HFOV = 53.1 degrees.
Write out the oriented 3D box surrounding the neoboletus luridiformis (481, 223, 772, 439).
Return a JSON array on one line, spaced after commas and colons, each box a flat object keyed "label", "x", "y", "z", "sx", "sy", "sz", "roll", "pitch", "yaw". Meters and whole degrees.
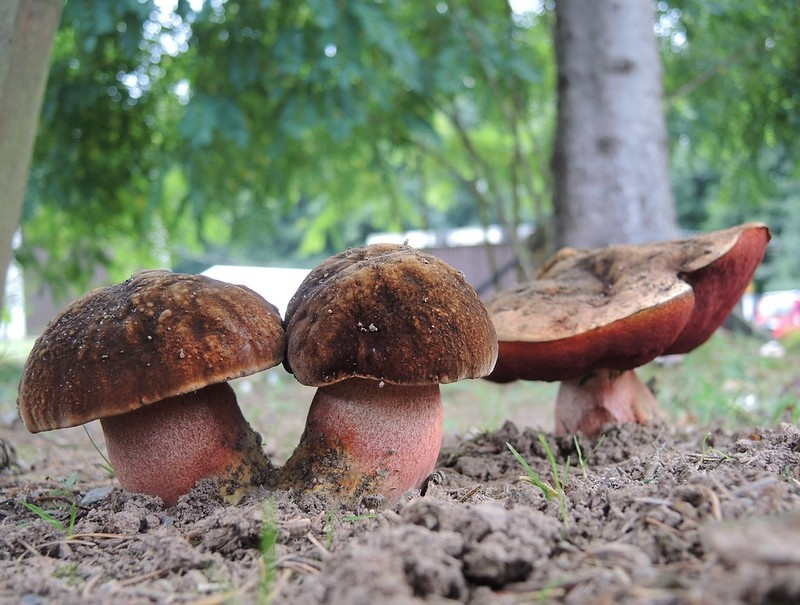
[{"label": "neoboletus luridiformis", "x": 1.149, "y": 0.092, "z": 4.044, "sx": 1.174, "sy": 0.799, "sz": 1.122, "roll": -9, "pitch": 1, "yaw": 27}]
